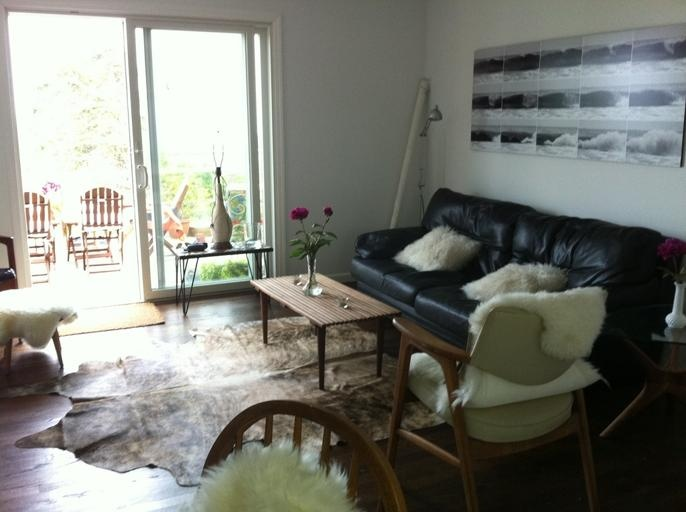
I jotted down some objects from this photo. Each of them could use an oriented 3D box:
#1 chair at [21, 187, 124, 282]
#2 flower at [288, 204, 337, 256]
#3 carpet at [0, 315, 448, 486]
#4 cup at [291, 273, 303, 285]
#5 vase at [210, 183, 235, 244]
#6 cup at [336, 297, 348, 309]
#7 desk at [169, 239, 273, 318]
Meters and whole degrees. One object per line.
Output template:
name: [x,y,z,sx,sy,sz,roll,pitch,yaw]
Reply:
chair: [-3.360,-0.228,6.370,1.118,0.970,0.471,-3,7,-19]
flower: [-0.279,-0.144,4.088,0.432,0.493,0.368,-9,9,-13]
carpet: [-0.926,0.916,3.457,1.633,0.078,1.316,-3,15,-28]
cup: [-0.378,0.192,4.253,0.070,0.092,0.083,-1,10,-17]
vase: [-1.200,-0.402,4.964,0.222,0.640,0.256,2,12,19]
cup: [0.004,0.344,3.721,0.058,0.064,0.055,3,12,-1]
desk: [-1.223,0.060,5.154,1.196,0.720,0.666,-6,13,-30]
